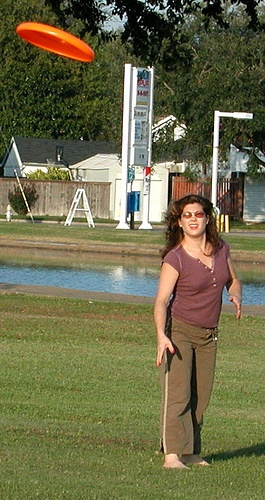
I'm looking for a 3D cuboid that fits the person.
[{"bbox_3d":[0.311,0.504,5.337,0.418,1.641,0.804,3,6,31],"label":"person"}]
